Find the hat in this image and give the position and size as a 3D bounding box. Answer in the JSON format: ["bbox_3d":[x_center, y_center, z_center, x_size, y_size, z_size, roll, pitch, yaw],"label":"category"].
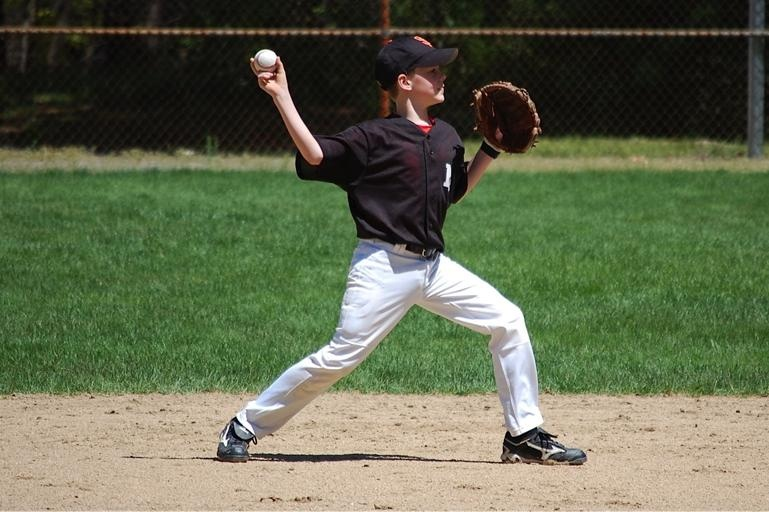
[{"bbox_3d":[0.279,-1.887,13.270,0.664,0.373,0.449,-20,16,7],"label":"hat"}]

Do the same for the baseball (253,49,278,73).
[{"bbox_3d":[-1.080,-1.772,12.850,0.213,0.196,0.194,-2,8,-41],"label":"baseball"}]

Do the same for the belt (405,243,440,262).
[{"bbox_3d":[0.337,-0.039,13.092,0.187,0.074,0.177,19,0,15],"label":"belt"}]

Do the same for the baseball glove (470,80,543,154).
[{"bbox_3d":[1.178,-1.333,13.570,0.556,0.732,0.302,-33,2,-22],"label":"baseball glove"}]
